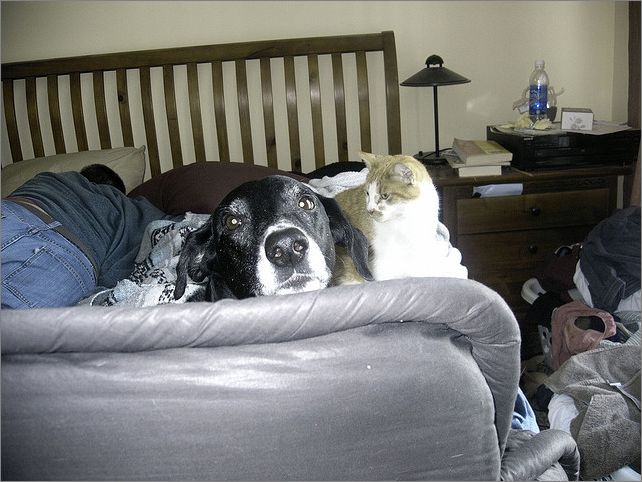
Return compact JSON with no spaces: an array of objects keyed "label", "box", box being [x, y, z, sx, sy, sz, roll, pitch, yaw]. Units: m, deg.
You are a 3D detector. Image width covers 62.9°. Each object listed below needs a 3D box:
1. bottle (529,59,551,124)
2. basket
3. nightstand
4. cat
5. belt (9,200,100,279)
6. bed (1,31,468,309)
[{"label":"bottle","box":[0.983,-0.677,2.366,0.082,0.271,0.226,1,13,21]},{"label":"basket","box":[0.901,0.325,2.104,0.251,0.196,0.211,14,27,40]},{"label":"nightstand","box":[0.742,-0.027,2.565,0.894,1.188,0.751,-3,12,-5]},{"label":"cat","box":[0.157,-0.067,1.099,0.221,0.167,0.309,-6,11,-7]},{"label":"belt","box":[-0.597,-0.026,1.199,0.044,0.190,0.168,-45,26,-17]},{"label":"bed","box":[-0.340,-0.321,1.757,0.910,0.613,0.926,-3,36,6]}]
